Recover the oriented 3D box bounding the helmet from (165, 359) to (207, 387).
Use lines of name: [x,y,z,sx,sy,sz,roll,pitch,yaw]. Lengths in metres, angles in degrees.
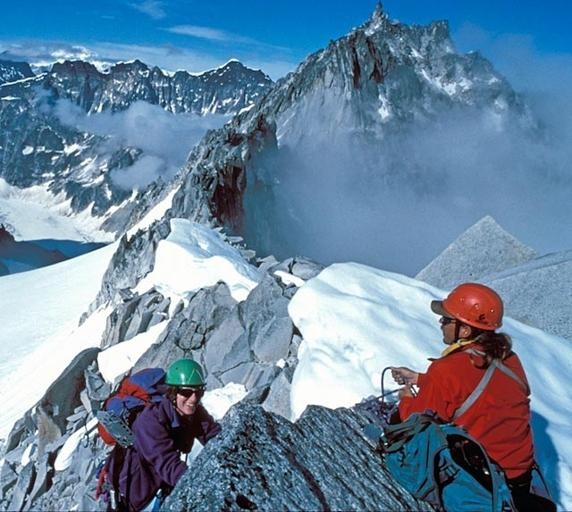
helmet: [-1.672,1.952,9.839,0.460,0.351,0.538,5,-1,-45]
